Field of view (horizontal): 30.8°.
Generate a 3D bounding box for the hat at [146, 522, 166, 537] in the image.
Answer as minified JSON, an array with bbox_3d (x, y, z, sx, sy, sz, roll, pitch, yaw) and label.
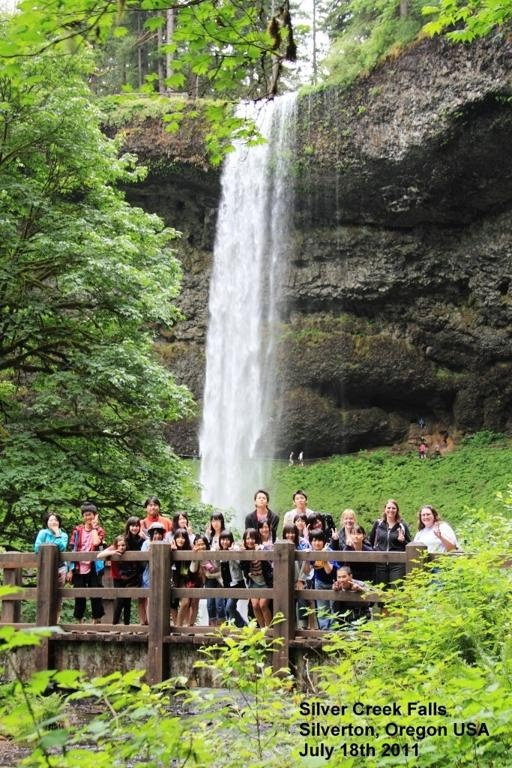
[{"bbox_3d":[-1.012,1.459,9.352,0.133,0.064,0.140,22,-37,-40],"label":"hat"}]
